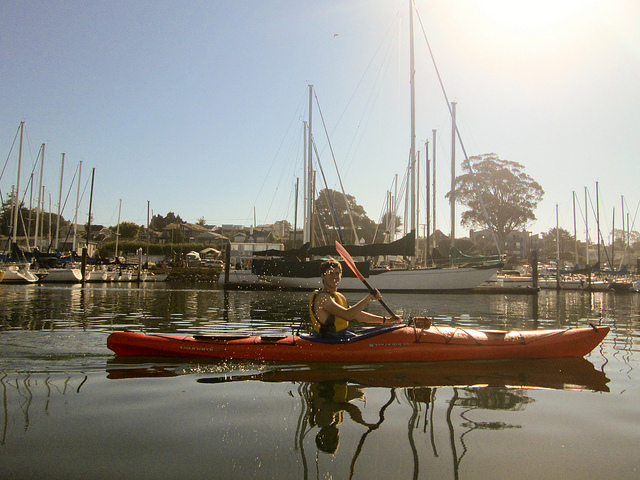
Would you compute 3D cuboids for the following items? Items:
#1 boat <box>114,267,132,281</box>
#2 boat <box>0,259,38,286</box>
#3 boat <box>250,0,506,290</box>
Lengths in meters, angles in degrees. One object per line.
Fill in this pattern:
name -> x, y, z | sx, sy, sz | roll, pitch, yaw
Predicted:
boat -> -12.541, 2.165, 40.835 | 0.873, 0.769, 0.901 | -2, -7, 19
boat -> -15.344, 1.843, 32.057 | 1.607, 1.036, 1.944 | -5, 11, -30
boat -> 2.375, -3.776, 27.613 | 6.838, 13.033, 10.643 | -4, 10, -30
